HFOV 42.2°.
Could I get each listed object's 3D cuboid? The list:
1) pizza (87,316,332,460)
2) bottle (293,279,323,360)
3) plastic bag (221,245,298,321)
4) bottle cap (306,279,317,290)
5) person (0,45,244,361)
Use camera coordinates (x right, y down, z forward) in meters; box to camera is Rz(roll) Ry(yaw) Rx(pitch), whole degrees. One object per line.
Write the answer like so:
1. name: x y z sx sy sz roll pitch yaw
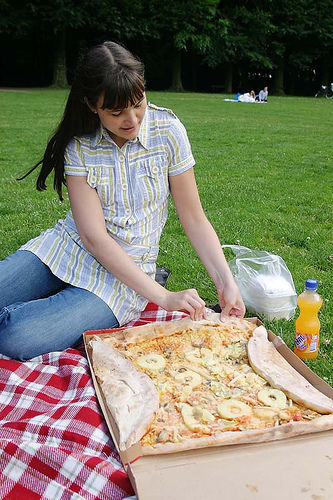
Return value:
1. pizza: 0.170 0.543 1.844 0.877 0.193 0.931 1 13 -18
2. bottle: 0.757 0.383 2.315 0.143 0.452 0.138 -1 14 0
3. plastic bag: 0.627 0.215 2.988 0.333 0.258 0.565 -14 30 -15
4. bottle cap: 0.737 0.178 2.193 0.052 0.047 0.051 0 7 10
5. person: -0.253 -0.211 2.258 1.259 1.547 0.665 5 13 -1
